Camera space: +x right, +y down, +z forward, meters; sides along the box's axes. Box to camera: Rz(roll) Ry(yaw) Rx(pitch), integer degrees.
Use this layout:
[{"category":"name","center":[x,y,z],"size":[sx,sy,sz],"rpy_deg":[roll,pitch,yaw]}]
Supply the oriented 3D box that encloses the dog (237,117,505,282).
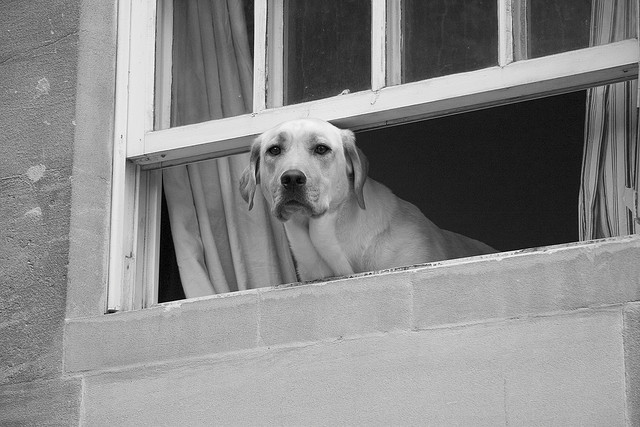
[{"category":"dog","center":[0.064,-0.069,10.352],"size":[0.961,0.805,0.676],"rpy_deg":[0,-12,-39]}]
